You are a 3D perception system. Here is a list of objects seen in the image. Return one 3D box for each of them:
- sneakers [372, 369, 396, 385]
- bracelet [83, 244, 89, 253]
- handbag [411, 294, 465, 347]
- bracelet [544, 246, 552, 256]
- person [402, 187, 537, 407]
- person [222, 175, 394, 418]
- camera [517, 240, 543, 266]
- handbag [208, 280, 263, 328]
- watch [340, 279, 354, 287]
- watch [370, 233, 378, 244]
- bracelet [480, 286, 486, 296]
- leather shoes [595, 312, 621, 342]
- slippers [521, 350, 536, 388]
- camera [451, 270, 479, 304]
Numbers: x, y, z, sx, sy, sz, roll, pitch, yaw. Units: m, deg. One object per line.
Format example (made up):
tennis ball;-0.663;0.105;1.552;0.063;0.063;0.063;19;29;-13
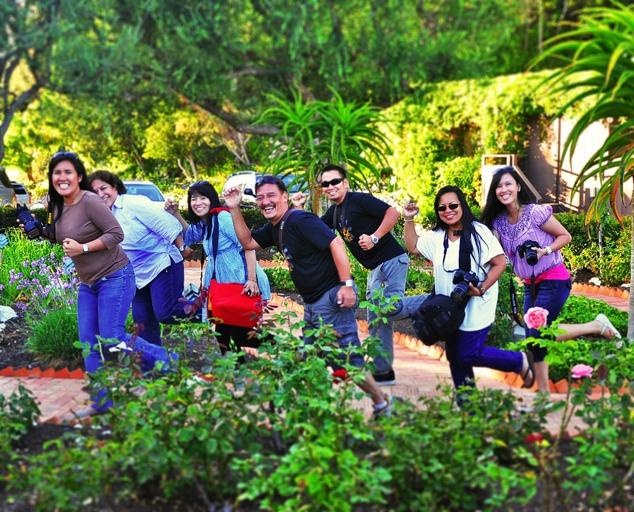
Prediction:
sneakers;0.636;1.118;5.205;0.247;0.136;0.099;3;3;-10
bracelet;-1.744;-0.048;4.274;0.037;0.069;0.057;-1;9;-12
handbag;0.891;0.455;4.107;0.279;0.174;0.409;-21;25;53
bracelet;1.889;-0.040;4.595;0.046;0.087;0.081;-5;9;-10
person;1.120;0.232;4.302;1.040;1.548;0.741;2;2;24
person;-0.094;0.246;4.284;1.386;1.693;0.431;2;3;35
camera;1.731;-0.040;4.593;0.156;0.118;0.194;-11;46;16
handbag;-0.678;0.411;4.837;0.370;0.156;0.406;5;40;-5
watch;0.230;0.194;4.032;0.074;0.053;0.077;0;-3;-32
watch;0.509;-0.150;4.985;0.057;0.091;0.081;-33;10;-23
bracelet;1.220;0.257;4.114;0.029;0.060;0.098;2;2;32
leather shoes;2.951;0.727;5.711;0.110;0.306;0.111;-36;-6;-44
slippers;1.667;0.878;4.402;0.095;0.303;0.094;-3;0;-35
camera;1.094;0.209;4.116;0.187;0.129;0.248;8;46;15
